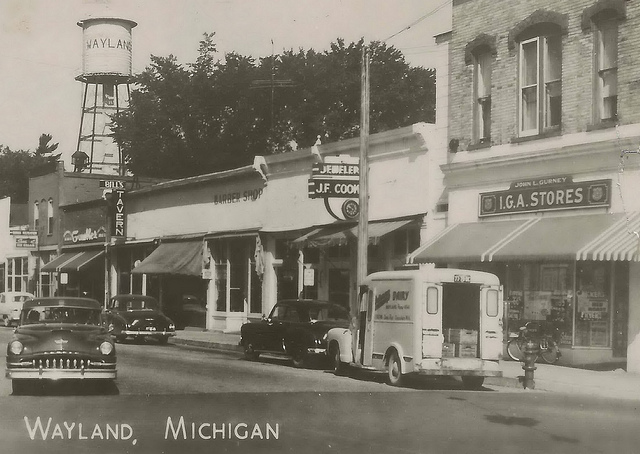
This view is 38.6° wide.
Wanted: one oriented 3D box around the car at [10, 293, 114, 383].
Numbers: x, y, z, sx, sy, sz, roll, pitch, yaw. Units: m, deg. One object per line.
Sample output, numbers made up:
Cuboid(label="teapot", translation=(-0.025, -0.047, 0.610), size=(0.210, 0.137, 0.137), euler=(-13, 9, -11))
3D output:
Cuboid(label="car", translation=(-6.050, 2.625, 21.518), size=(1.626, 1.421, 3.056), euler=(1, -5, -13))

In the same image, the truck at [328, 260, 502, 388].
Cuboid(label="truck", translation=(2.516, 2.566, 24.214), size=(2.494, 2.294, 4.125), euler=(4, -3, -31))

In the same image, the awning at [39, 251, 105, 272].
Cuboid(label="awning", translation=(-14.311, 1.930, 52.693), size=(1.382, 0.862, 3.596), euler=(-22, 8, -39))

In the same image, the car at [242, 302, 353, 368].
Cuboid(label="car", translation=(-0.704, 3.140, 27.421), size=(1.670, 1.270, 2.746), euler=(5, -3, -40))

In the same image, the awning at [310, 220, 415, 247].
Cuboid(label="awning", translation=(1.314, 0.193, 31.470), size=(1.984, 0.922, 2.644), euler=(2, -11, -34))

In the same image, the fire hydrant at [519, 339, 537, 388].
Cuboid(label="fire hydrant", translation=(5.240, 3.490, 23.153), size=(0.381, 1.100, 0.470), euler=(2, 4, 13))
